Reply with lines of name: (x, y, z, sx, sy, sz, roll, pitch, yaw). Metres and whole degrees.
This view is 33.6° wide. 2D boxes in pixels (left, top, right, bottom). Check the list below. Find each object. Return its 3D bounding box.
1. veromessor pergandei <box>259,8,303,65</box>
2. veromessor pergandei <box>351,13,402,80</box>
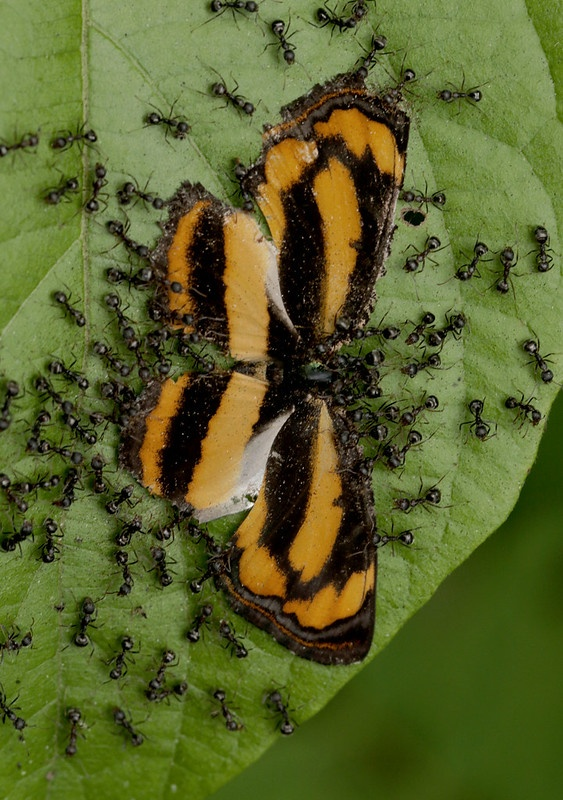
veromessor pergandei: (-0.012, -2.281, 5.948, 0.195, 0.125, 0.266, -2, 81, 0)
veromessor pergandei: (0.595, -2.231, 6.073, 0.226, 0.091, 0.281, 36, 109, -2)
